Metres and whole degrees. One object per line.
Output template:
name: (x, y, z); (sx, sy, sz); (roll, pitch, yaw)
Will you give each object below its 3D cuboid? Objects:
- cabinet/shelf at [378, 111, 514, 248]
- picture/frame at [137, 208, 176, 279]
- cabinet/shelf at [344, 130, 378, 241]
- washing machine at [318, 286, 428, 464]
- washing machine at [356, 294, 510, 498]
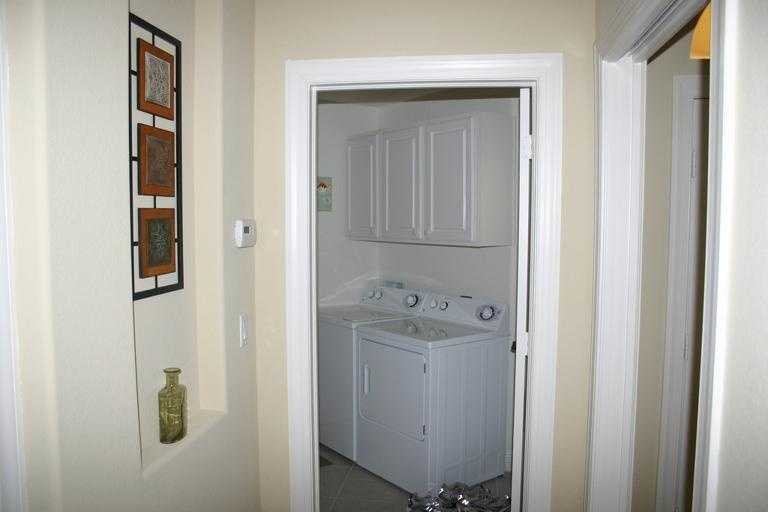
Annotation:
cabinet/shelf: (0.397, -0.499, 3.999); (0.352, 0.873, 0.976); (-3, 4, -41)
picture/frame: (-0.861, -0.049, 2.127); (0.029, 0.268, 0.227); (3, -10, 18)
cabinet/shelf: (-0.198, -0.570, 4.586); (0.139, 0.857, 0.382); (7, 3, -13)
washing machine: (-0.115, 0.898, 4.324); (0.910, 1.304, 0.903); (0, 3, 35)
washing machine: (0.300, 0.905, 3.873); (0.798, 1.172, 0.893); (-1, 3, -32)
